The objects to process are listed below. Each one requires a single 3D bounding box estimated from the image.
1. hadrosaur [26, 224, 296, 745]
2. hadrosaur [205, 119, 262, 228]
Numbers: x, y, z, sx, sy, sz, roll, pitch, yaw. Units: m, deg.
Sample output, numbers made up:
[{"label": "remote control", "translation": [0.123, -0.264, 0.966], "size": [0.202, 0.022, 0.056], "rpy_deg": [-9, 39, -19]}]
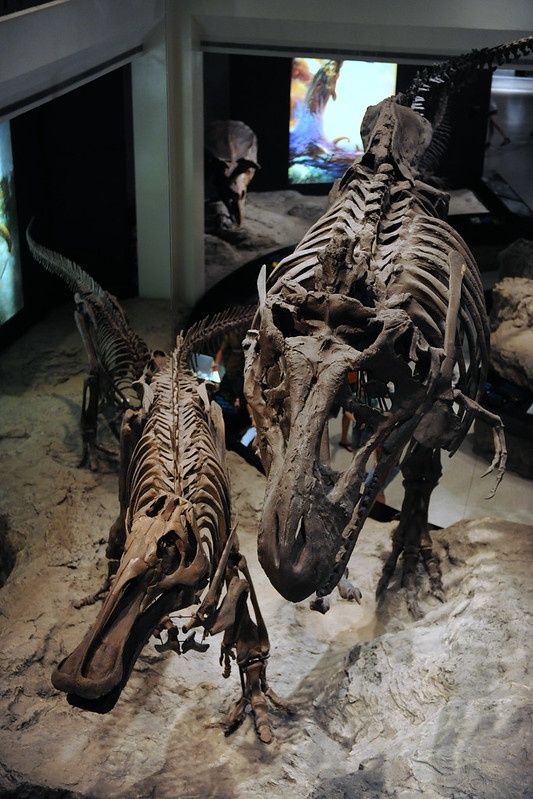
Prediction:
[{"label": "hadrosaur", "translation": [-0.437, 0.158, 2.868], "size": [1.059, 1.031, 2.589], "rpy_deg": [0, 59, -17]}, {"label": "hadrosaur", "translation": [-0.238, -1.522, 4.152], "size": [0.345, 0.580, 0.554], "rpy_deg": [-7, 52, -10]}]
